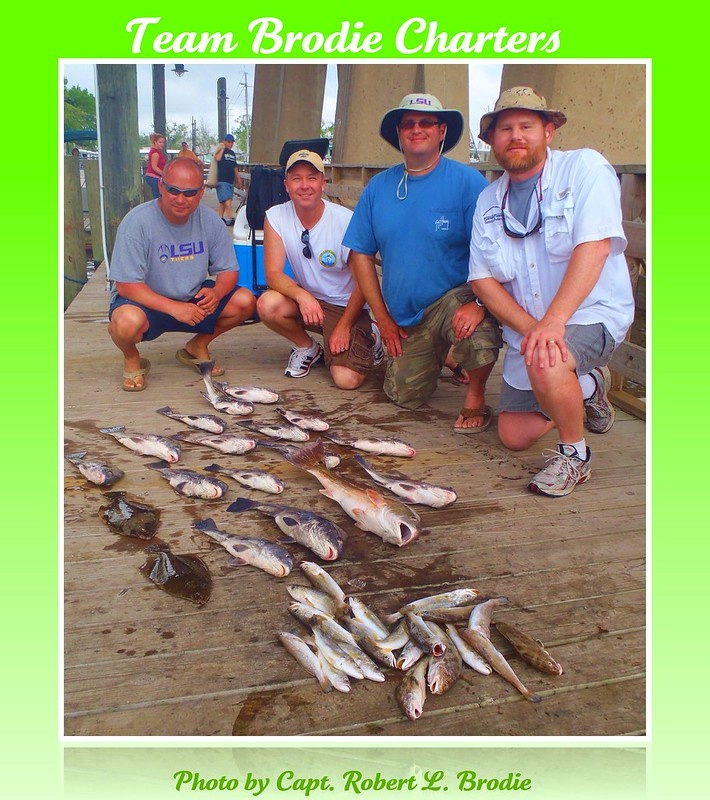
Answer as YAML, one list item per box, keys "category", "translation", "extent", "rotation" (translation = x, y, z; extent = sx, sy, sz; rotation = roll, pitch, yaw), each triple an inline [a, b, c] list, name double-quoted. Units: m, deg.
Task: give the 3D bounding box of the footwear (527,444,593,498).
- category: "footwear"
  translation: [0.935, 0.301, 3.074]
  extent: [0.154, 0.154, 0.392]
  rotation: [21, 27, 39]

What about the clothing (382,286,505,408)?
- category: "clothing"
  translation: [0.508, -0.287, 4.083]
  extent: [0.804, 0.693, 0.253]
  rotation: [18, -29, -21]

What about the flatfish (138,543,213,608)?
- category: "flatfish"
  translation: [-0.637, 0.603, 2.410]
  extent: [0.193, 0.026, 0.373]
  rotation: [-17, 33, -38]

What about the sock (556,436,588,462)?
- category: "sock"
  translation: [0.980, 0.222, 3.061]
  extent: [0.064, 0.063, 0.171]
  rotation: [5, 16, 39]

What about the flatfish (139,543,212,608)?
- category: "flatfish"
  translation: [-0.607, 0.605, 2.419]
  extent: [0.214, 0.027, 0.409]
  rotation: [-9, 18, -29]

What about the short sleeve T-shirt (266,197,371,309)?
- category: "short sleeve T-shirt"
  translation: [-0.252, -1.055, 4.774]
  extent: [0.724, 0.716, 0.386]
  rotation: [22, 59, 29]

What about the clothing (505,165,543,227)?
- category: "clothing"
  translation: [0.780, -0.928, 3.147]
  extent: [0.190, 0.220, 0.066]
  rotation: [4, 13, 36]

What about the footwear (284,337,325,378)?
- category: "footwear"
  translation: [-0.347, -0.304, 4.895]
  extent: [0.156, 0.151, 0.395]
  rotation: [3, 35, 28]

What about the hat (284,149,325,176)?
- category: "hat"
  translation: [-0.294, -1.544, 4.390]
  extent: [0.177, 0.156, 0.328]
  rotation: [10, 17, 29]

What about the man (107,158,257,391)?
- category: "man"
  translation: [-1.200, -0.864, 4.635]
  extent: [1.000, 1.478, 0.557]
  rotation: [-9, 20, -31]

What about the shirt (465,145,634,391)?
- category: "shirt"
  translation: [0.909, -0.665, 3.304]
  extent: [0.752, 0.897, 0.518]
  rotation: [-11, -6, 28]

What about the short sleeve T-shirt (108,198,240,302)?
- category: "short sleeve T-shirt"
  translation: [-1.295, -1.036, 4.675]
  extent: [0.455, 0.631, 0.988]
  rotation: [34, 35, 30]

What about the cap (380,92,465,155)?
- category: "cap"
  translation: [0.395, -1.630, 3.937]
  extent: [0.475, 0.158, 0.444]
  rotation: [1, -27, 6]

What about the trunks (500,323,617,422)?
- category: "trunks"
  translation: [0.992, -0.134, 3.256]
  extent: [0.381, 0.516, 0.216]
  rotation: [4, 36, 11]
